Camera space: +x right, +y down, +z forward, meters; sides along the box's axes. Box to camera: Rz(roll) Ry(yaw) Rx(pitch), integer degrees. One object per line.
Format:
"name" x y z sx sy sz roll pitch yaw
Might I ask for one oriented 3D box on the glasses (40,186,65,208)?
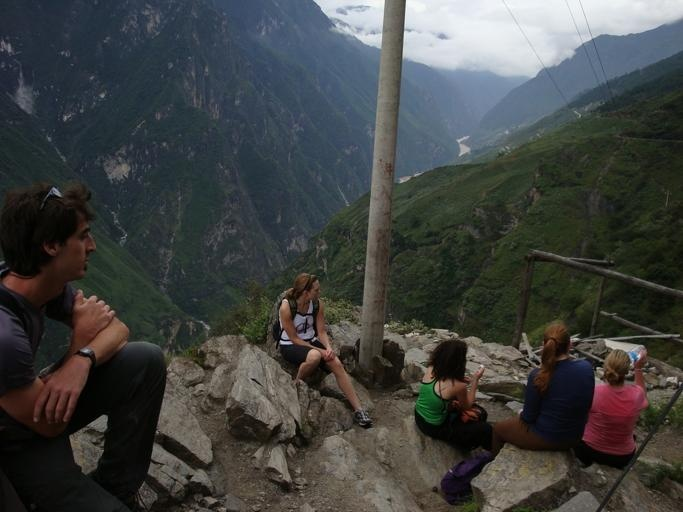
"glasses" -2.708 -0.564 4.960 0.180 0.050 0.185 -37 12 16

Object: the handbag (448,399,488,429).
"handbag" 1.898 2.376 8.031 0.450 0.209 0.436 -4 -7 6

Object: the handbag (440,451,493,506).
"handbag" 1.705 3.039 7.402 0.500 0.445 0.763 18 28 40

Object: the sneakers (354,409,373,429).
"sneakers" 0.369 2.600 8.527 0.161 0.165 0.374 -6 -13 -20

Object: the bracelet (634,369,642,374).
"bracelet" 4.554 1.760 8.131 0.065 0.053 0.069 1 -3 13

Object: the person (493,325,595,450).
"person" 2.740 1.778 6.966 0.985 1.671 0.543 10 23 26

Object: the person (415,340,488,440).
"person" 1.776 2.193 8.567 0.914 1.454 0.762 -21 41 -21
